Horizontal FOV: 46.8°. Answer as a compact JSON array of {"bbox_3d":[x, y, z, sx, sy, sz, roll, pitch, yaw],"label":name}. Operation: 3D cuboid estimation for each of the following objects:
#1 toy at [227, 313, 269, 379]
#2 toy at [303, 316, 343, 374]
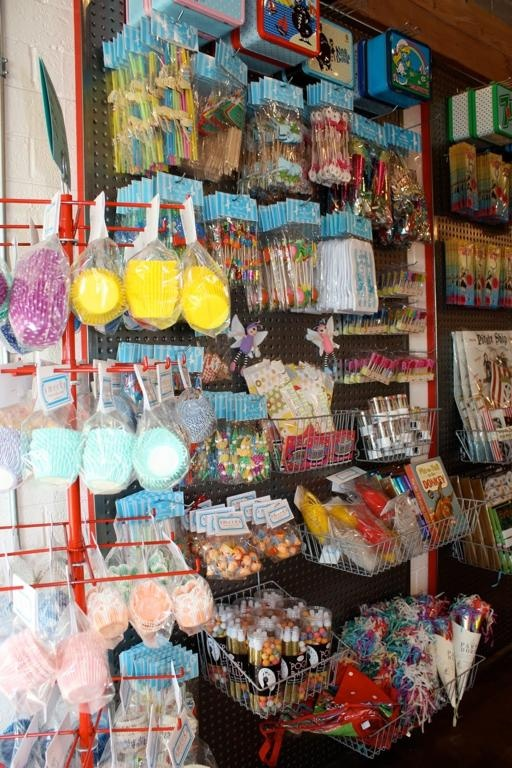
[{"bbox_3d":[-0.030,-0.107,1.691,0.135,0.199,0.042,17,-9,-41],"label":"toy"},{"bbox_3d":[0.210,-0.130,1.929,0.030,0.177,0.111,5,33,38],"label":"toy"}]
